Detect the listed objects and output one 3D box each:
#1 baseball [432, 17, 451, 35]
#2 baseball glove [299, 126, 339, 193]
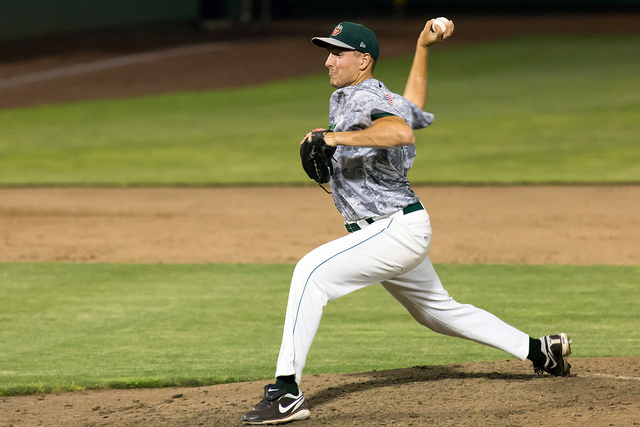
[{"bbox_3d":[1.641,-2.520,19.483,0.226,0.222,0.108,0,5,4],"label":"baseball"},{"bbox_3d":[-0.009,-0.702,19.061,0.403,0.745,0.570,-10,3,36],"label":"baseball glove"}]
